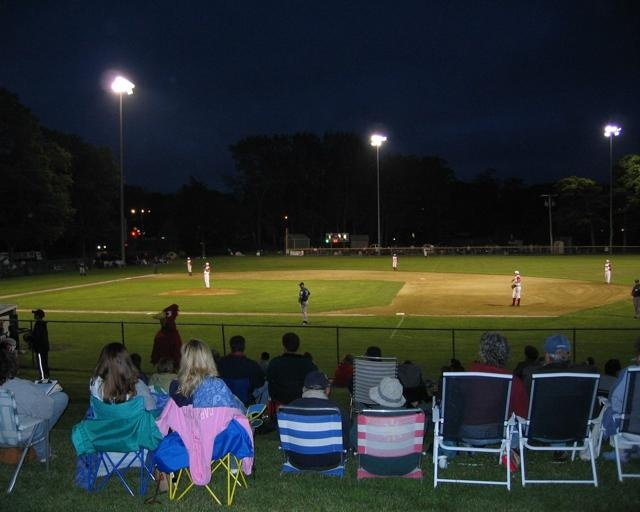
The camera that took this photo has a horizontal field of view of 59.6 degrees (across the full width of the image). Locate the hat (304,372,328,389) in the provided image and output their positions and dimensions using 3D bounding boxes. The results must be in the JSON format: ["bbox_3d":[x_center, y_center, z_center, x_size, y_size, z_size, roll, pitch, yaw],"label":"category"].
[{"bbox_3d":[-0.047,1.711,7.691,0.311,0.229,0.212,-1,0,-4],"label":"hat"}]

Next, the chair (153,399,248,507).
[{"bbox_3d":[-1.539,2.528,7.166,1.189,1.213,0.674,1,-1,-3],"label":"chair"}]

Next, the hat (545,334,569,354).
[{"bbox_3d":[3.547,1.319,8.308,0.359,0.273,0.467,-1,0,11],"label":"hat"}]

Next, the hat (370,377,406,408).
[{"bbox_3d":[0.965,1.896,7.596,0.404,0.210,0.421,15,20,35],"label":"hat"}]

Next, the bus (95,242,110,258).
[{"bbox_3d":[-34.695,-0.912,89.296,1.711,2.237,18.149,-1,0,-22],"label":"bus"}]
